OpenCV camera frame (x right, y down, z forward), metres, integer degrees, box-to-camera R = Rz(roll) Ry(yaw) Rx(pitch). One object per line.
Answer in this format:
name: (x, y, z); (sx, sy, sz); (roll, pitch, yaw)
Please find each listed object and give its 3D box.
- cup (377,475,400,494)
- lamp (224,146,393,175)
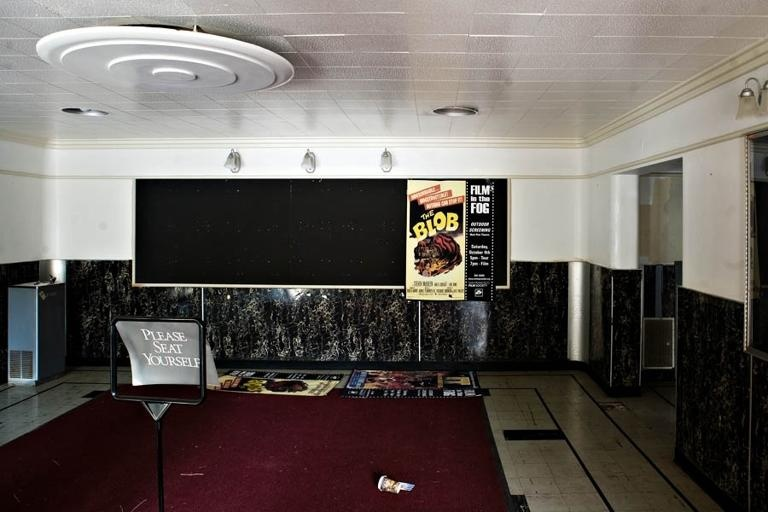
cup: (0.031, 1.335, 3.068); (0.100, 0.078, 0.078); (8, 28, 36)
lamp: (-1.000, -1.260, 6.976); (2.227, 0.334, 0.266); (0, 13, 1)
